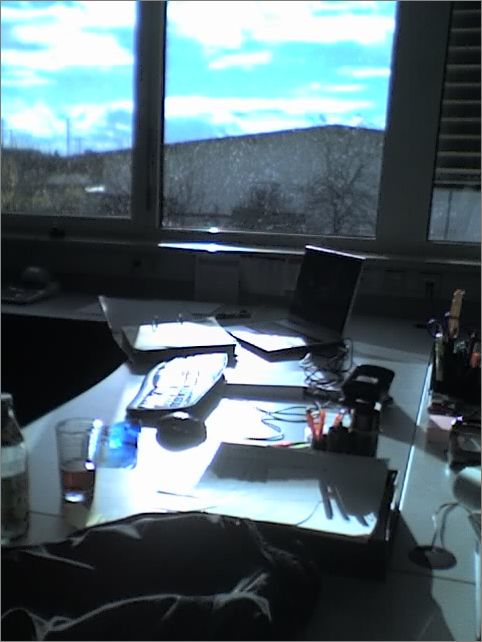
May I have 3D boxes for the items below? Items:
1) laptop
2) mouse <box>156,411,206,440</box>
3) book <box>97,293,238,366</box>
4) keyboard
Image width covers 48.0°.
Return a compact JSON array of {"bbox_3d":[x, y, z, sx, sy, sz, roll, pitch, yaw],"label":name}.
[{"bbox_3d":[0.203,-0.042,1.680,0.277,0.358,0.382,16,3,-22],"label":"laptop"},{"bbox_3d":[-0.105,0.177,0.970,0.047,0.016,0.061,-13,21,-40],"label":"mouse"},{"bbox_3d":[-0.194,0.016,1.584,0.306,0.088,0.267,-3,26,-26],"label":"book"},{"bbox_3d":[-0.141,0.142,1.204,0.199,0.044,0.335,-1,-26,-26],"label":"keyboard"}]
